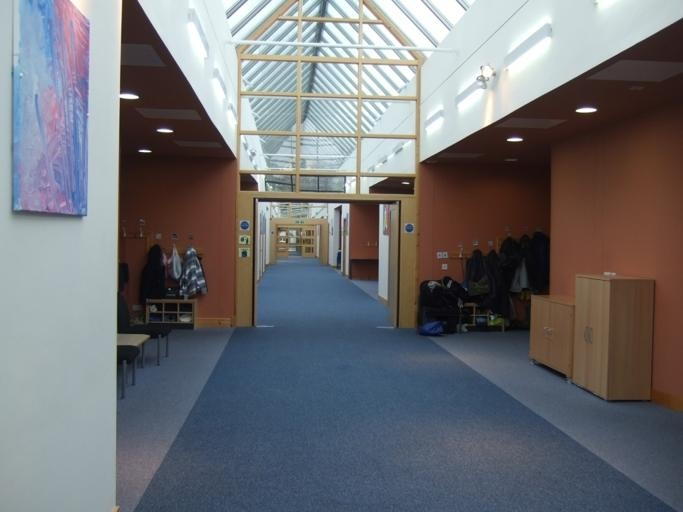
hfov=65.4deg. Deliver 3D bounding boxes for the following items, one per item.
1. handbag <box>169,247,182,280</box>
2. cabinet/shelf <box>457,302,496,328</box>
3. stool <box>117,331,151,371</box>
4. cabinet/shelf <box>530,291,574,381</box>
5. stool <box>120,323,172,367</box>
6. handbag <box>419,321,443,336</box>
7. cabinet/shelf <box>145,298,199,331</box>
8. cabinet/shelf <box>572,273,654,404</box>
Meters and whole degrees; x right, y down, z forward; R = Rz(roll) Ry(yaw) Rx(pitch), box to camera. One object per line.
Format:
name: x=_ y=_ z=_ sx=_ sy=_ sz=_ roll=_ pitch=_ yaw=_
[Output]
handbag: x=-2.832 y=0.110 z=9.215 sx=0.201 sy=0.570 sz=0.198 roll=-1 pitch=4 yaw=-20
cabinet/shelf: x=2.376 y=1.053 z=9.425 sx=0.466 sy=0.391 sz=0.497 roll=0 pitch=-1 yaw=4
stool: x=-2.406 y=1.104 z=6.232 sx=0.296 sy=0.298 sz=0.546 roll=0 pitch=1 yaw=-4
cabinet/shelf: x=2.811 y=1.041 z=6.867 sx=0.332 sy=0.927 sz=0.973 roll=1 pitch=1 yaw=-7
stool: x=-2.516 y=1.245 z=7.012 sx=0.650 sy=0.373 sz=0.492 roll=1 pitch=-2 yaw=-7
handbag: x=1.546 y=1.232 z=9.104 sx=0.278 sy=0.134 sz=0.242 roll=-3 pitch=7 yaw=-28
cabinet/shelf: x=-2.870 y=0.955 z=8.993 sx=0.855 sy=0.565 sz=0.375 roll=0 pitch=4 yaw=-13
cabinet/shelf: x=3.028 y=0.926 z=5.900 sx=0.601 sy=1.760 sz=1.170 roll=2 pitch=-4 yaw=-3
